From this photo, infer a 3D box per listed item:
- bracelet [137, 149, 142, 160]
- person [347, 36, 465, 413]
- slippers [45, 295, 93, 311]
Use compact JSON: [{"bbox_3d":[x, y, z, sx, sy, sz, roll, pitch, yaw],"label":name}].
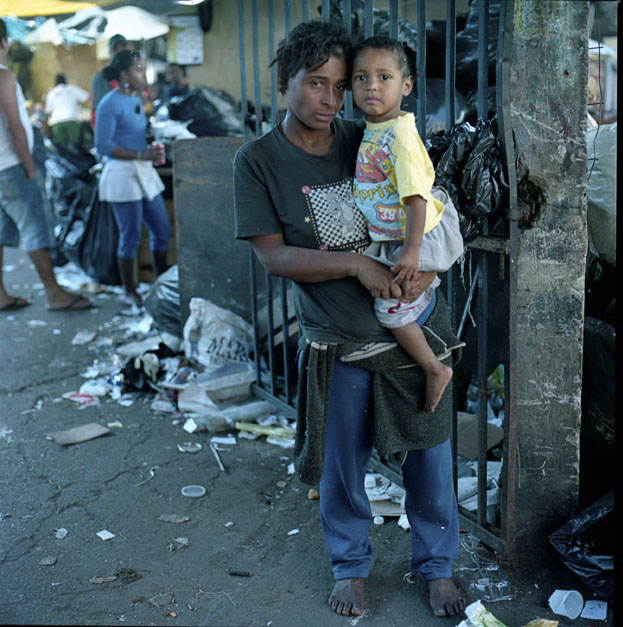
[{"bbox_3d":[-1.241,-1.155,5.148,0.044,0.065,0.017,-7,14,-17],"label":"bracelet"},{"bbox_3d":[0.294,-0.238,2.187,0.298,1.166,0.280,-14,17,-39],"label":"person"},{"bbox_3d":[-1.821,-0.075,5.380,0.290,0.106,0.125,-4,15,-14],"label":"slippers"}]
